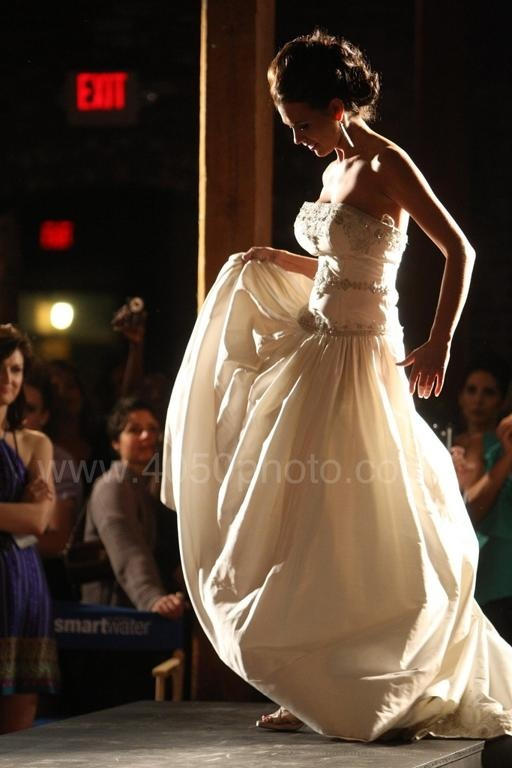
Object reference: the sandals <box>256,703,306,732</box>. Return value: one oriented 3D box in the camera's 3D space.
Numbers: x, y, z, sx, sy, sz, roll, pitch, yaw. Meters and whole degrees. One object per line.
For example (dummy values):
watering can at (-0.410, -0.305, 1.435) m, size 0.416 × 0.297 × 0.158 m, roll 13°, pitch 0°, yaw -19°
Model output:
sandals at (0.053, 0.791, 2.187) m, size 0.132 × 0.052 × 0.045 m, roll -1°, pitch -13°, yaw 22°

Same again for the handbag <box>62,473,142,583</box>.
handbag at (-0.475, 0.463, 3.035) m, size 0.281 × 0.338 × 0.127 m, roll 2°, pitch 0°, yaw -13°

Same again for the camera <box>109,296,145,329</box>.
camera at (-0.425, -0.235, 3.116) m, size 0.078 × 0.120 × 0.033 m, roll 39°, pitch -17°, yaw 0°
